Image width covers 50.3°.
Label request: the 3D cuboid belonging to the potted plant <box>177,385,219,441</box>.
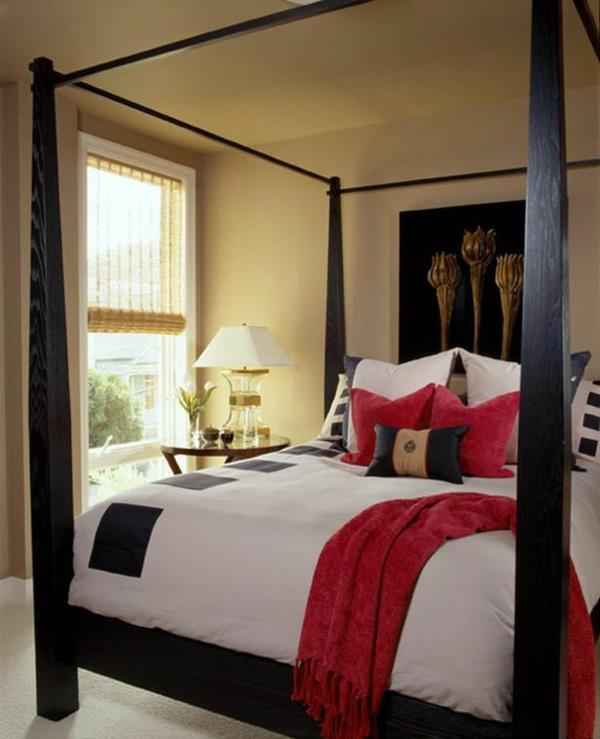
[{"bbox_3d":[-0.609,0.244,3.664,0.194,0.278,0.224,5,7,16],"label":"potted plant"}]

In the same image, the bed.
[{"bbox_3d":[0.084,0.539,1.867,1.345,0.353,0.900,-1,-2,37],"label":"bed"}]
